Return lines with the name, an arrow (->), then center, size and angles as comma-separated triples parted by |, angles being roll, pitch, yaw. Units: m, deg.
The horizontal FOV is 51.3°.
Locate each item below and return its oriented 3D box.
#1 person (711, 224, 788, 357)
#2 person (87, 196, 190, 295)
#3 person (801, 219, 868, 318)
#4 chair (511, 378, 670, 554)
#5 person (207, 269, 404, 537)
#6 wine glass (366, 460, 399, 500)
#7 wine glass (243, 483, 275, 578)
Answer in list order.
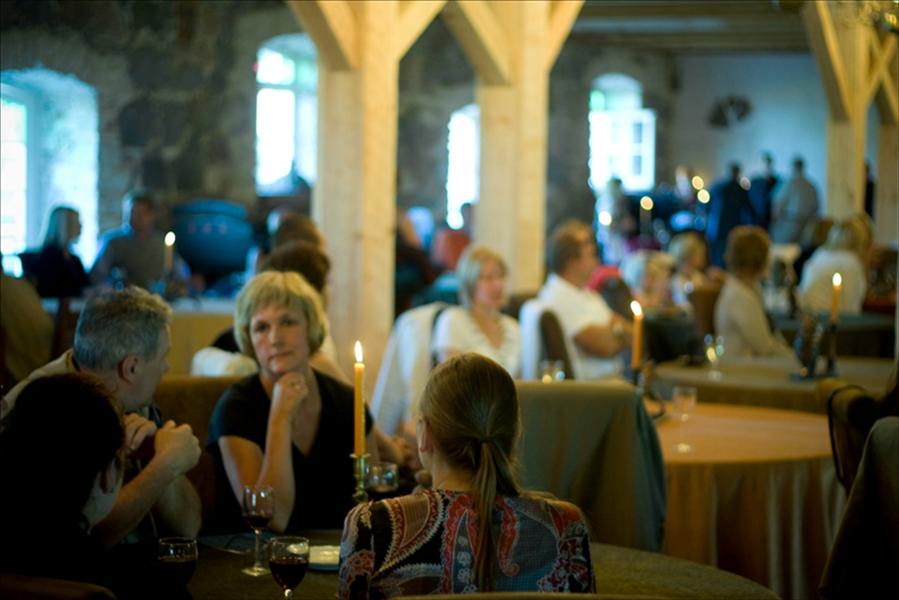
person -> 2.002, -0.065, 6.153 | 0.497, 0.847, 0.588 | 1, 2, 17
person -> -2.014, -0.336, 6.015 | 0.500, 0.648, 1.141 | 0, 1, -15
person -> 3.446, -0.309, 8.364 | 0.554, 0.830, 0.763 | 1, 2, 24
chair -> 0.589, 0.639, 3.745 | 0.681, 0.719, 0.504 | -1, 0, 23
person -> -0.596, 0.417, 3.831 | 0.897, 1.303, 0.791 | 2, -9, -15
wine glass -> -0.241, 0.627, 3.279 | 0.100, 0.103, 0.104 | 1, -7, -3
wine glass -> -0.642, 0.740, 3.117 | 0.097, 0.285, 0.236 | 0, 2, -13
